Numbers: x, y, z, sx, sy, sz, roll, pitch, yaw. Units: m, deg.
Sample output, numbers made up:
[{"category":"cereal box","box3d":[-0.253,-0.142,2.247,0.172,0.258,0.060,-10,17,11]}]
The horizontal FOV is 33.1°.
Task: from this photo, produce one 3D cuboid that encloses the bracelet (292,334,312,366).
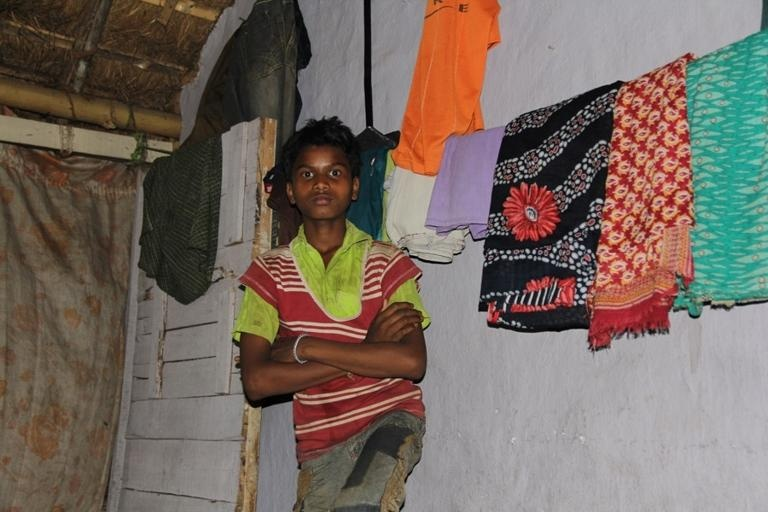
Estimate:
[{"category":"bracelet","box3d":[-0.360,0.399,5.426,0.033,0.102,0.108,-3,10,-22]}]
